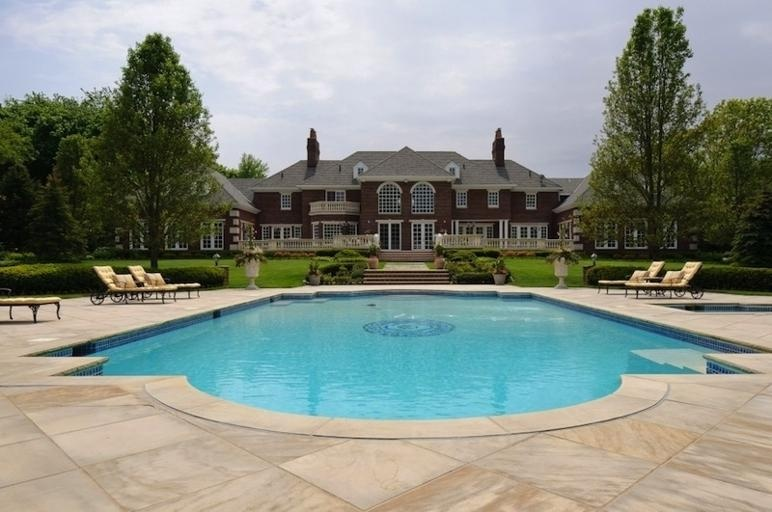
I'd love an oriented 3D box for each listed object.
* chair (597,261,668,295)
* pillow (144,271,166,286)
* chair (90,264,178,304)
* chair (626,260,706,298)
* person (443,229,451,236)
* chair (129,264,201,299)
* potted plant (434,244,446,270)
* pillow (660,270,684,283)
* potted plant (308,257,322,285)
[{"bbox_3d":[12.465,1.123,28.967,3.156,1.498,1.760,0,-2,6],"label":"chair"},{"bbox_3d":[-10.883,1.132,27.317,0.755,0.601,0.206,-2,-9,-1],"label":"pillow"},{"bbox_3d":[-11.634,1.317,26.376,3.566,1.656,1.936,0,-2,10],"label":"chair"},{"bbox_3d":[13.530,1.098,27.441,3.569,1.649,1.977,1,-5,-1],"label":"chair"},{"bbox_3d":[5.653,-2.068,51.334,0.731,0.421,0.740,-3,-1,25],"label":"person"},{"bbox_3d":[-10.641,1.304,27.079,2.991,1.381,1.806,-2,-5,18],"label":"chair"},{"bbox_3d":[3.660,0.060,37.959,0.631,1.493,1.167,3,12,7],"label":"potted plant"},{"bbox_3d":[13.629,1.018,27.096,0.863,0.550,0.731,6,12,23],"label":"pillow"},{"bbox_3d":[-4.111,1.027,33.453,0.798,1.367,1.998,0,11,-7],"label":"potted plant"}]
